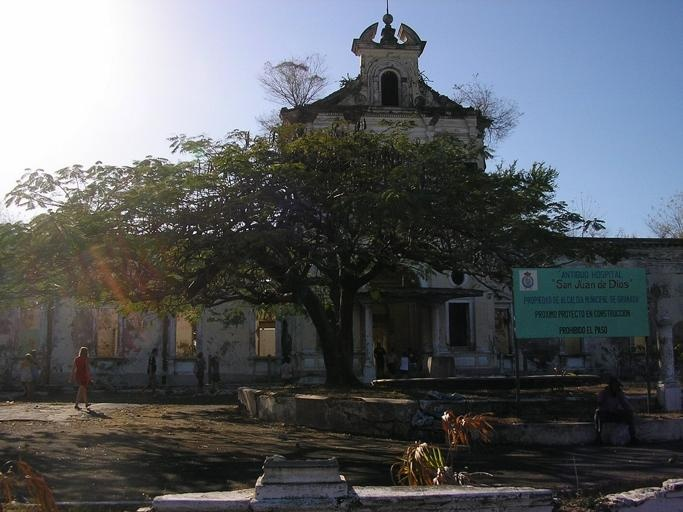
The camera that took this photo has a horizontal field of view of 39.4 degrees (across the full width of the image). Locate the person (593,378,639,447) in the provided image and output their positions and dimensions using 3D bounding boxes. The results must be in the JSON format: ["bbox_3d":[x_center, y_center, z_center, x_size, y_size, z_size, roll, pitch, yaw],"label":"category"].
[{"bbox_3d":[6.092,3.432,21.262,0.953,1.435,0.599,-2,-6,4],"label":"person"}]

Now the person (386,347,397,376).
[{"bbox_3d":[2.187,4.493,40.676,0.404,1.188,1.507,-2,-6,3],"label":"person"}]

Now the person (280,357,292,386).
[{"bbox_3d":[-2.348,4.892,41.394,0.447,1.092,1.325,-2,-6,-4],"label":"person"}]
